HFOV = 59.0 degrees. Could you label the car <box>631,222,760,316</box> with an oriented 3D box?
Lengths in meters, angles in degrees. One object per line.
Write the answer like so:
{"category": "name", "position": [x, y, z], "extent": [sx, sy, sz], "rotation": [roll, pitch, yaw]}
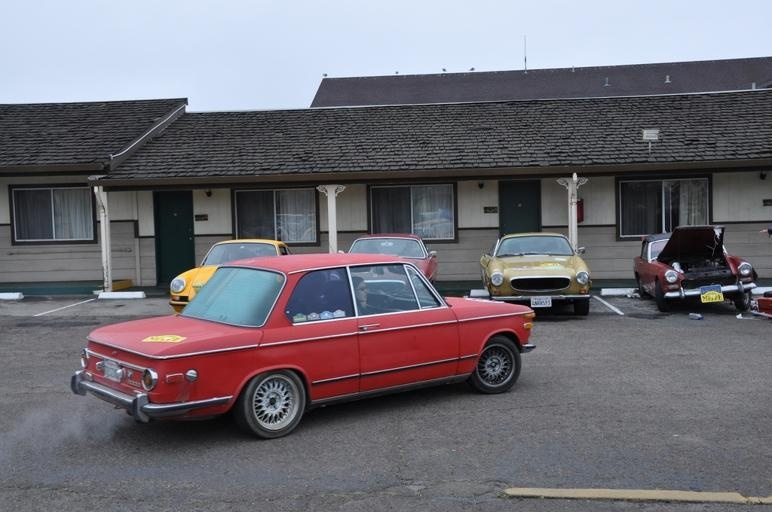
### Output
{"category": "car", "position": [6.628, 0.220, 15.101], "extent": [1.548, 1.249, 2.792], "rotation": [-1, 1, 0]}

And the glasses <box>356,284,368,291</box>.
{"category": "glasses", "position": [-0.296, 0.403, 8.662], "extent": [0.109, 0.080, 0.033], "rotation": [-17, 16, -2]}
